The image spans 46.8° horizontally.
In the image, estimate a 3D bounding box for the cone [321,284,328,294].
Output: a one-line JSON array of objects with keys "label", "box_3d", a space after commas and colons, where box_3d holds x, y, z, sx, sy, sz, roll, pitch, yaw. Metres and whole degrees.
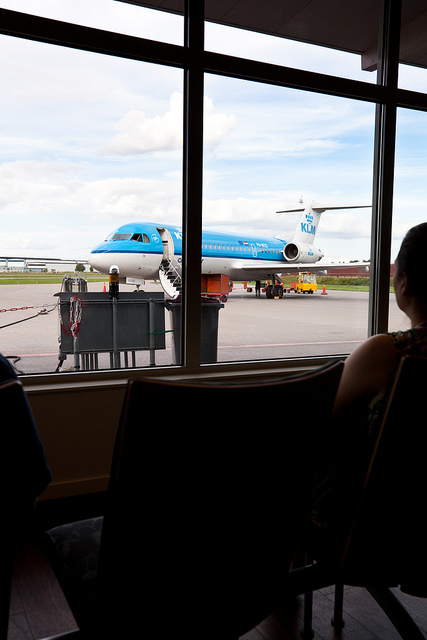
[{"label": "cone", "box_3d": [5.028, -1.447, 22.547, 0.365, 0.541, 0.373, -3, 5, -25]}]

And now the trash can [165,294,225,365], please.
[{"label": "trash can", "box_3d": [-0.116, 0.051, 3.086, 0.312, 0.425, 0.340, 1, 1, 20]}]
